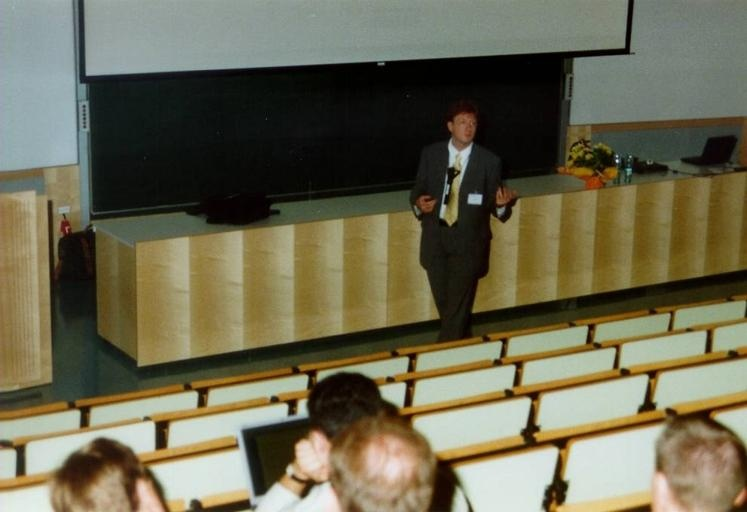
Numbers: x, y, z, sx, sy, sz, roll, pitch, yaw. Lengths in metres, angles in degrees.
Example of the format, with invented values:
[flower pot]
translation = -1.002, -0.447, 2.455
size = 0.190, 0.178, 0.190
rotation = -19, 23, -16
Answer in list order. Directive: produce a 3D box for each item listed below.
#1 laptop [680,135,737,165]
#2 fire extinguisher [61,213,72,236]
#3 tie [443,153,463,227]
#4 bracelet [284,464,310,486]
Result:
[laptop]
translation = 3.841, -1.204, 8.848
size = 0.601, 0.335, 0.271
rotation = -3, 12, -20
[fire extinguisher]
translation = -3.283, -0.321, 8.242
size = 0.097, 0.113, 0.291
rotation = -9, 51, -30
[tie]
translation = 0.652, -0.545, 6.389
size = 0.096, 0.574, 0.147
rotation = 9, 13, 38
[bracelet]
translation = -0.343, 0.944, 3.392
size = 0.090, 0.037, 0.081
rotation = 27, -2, 6
